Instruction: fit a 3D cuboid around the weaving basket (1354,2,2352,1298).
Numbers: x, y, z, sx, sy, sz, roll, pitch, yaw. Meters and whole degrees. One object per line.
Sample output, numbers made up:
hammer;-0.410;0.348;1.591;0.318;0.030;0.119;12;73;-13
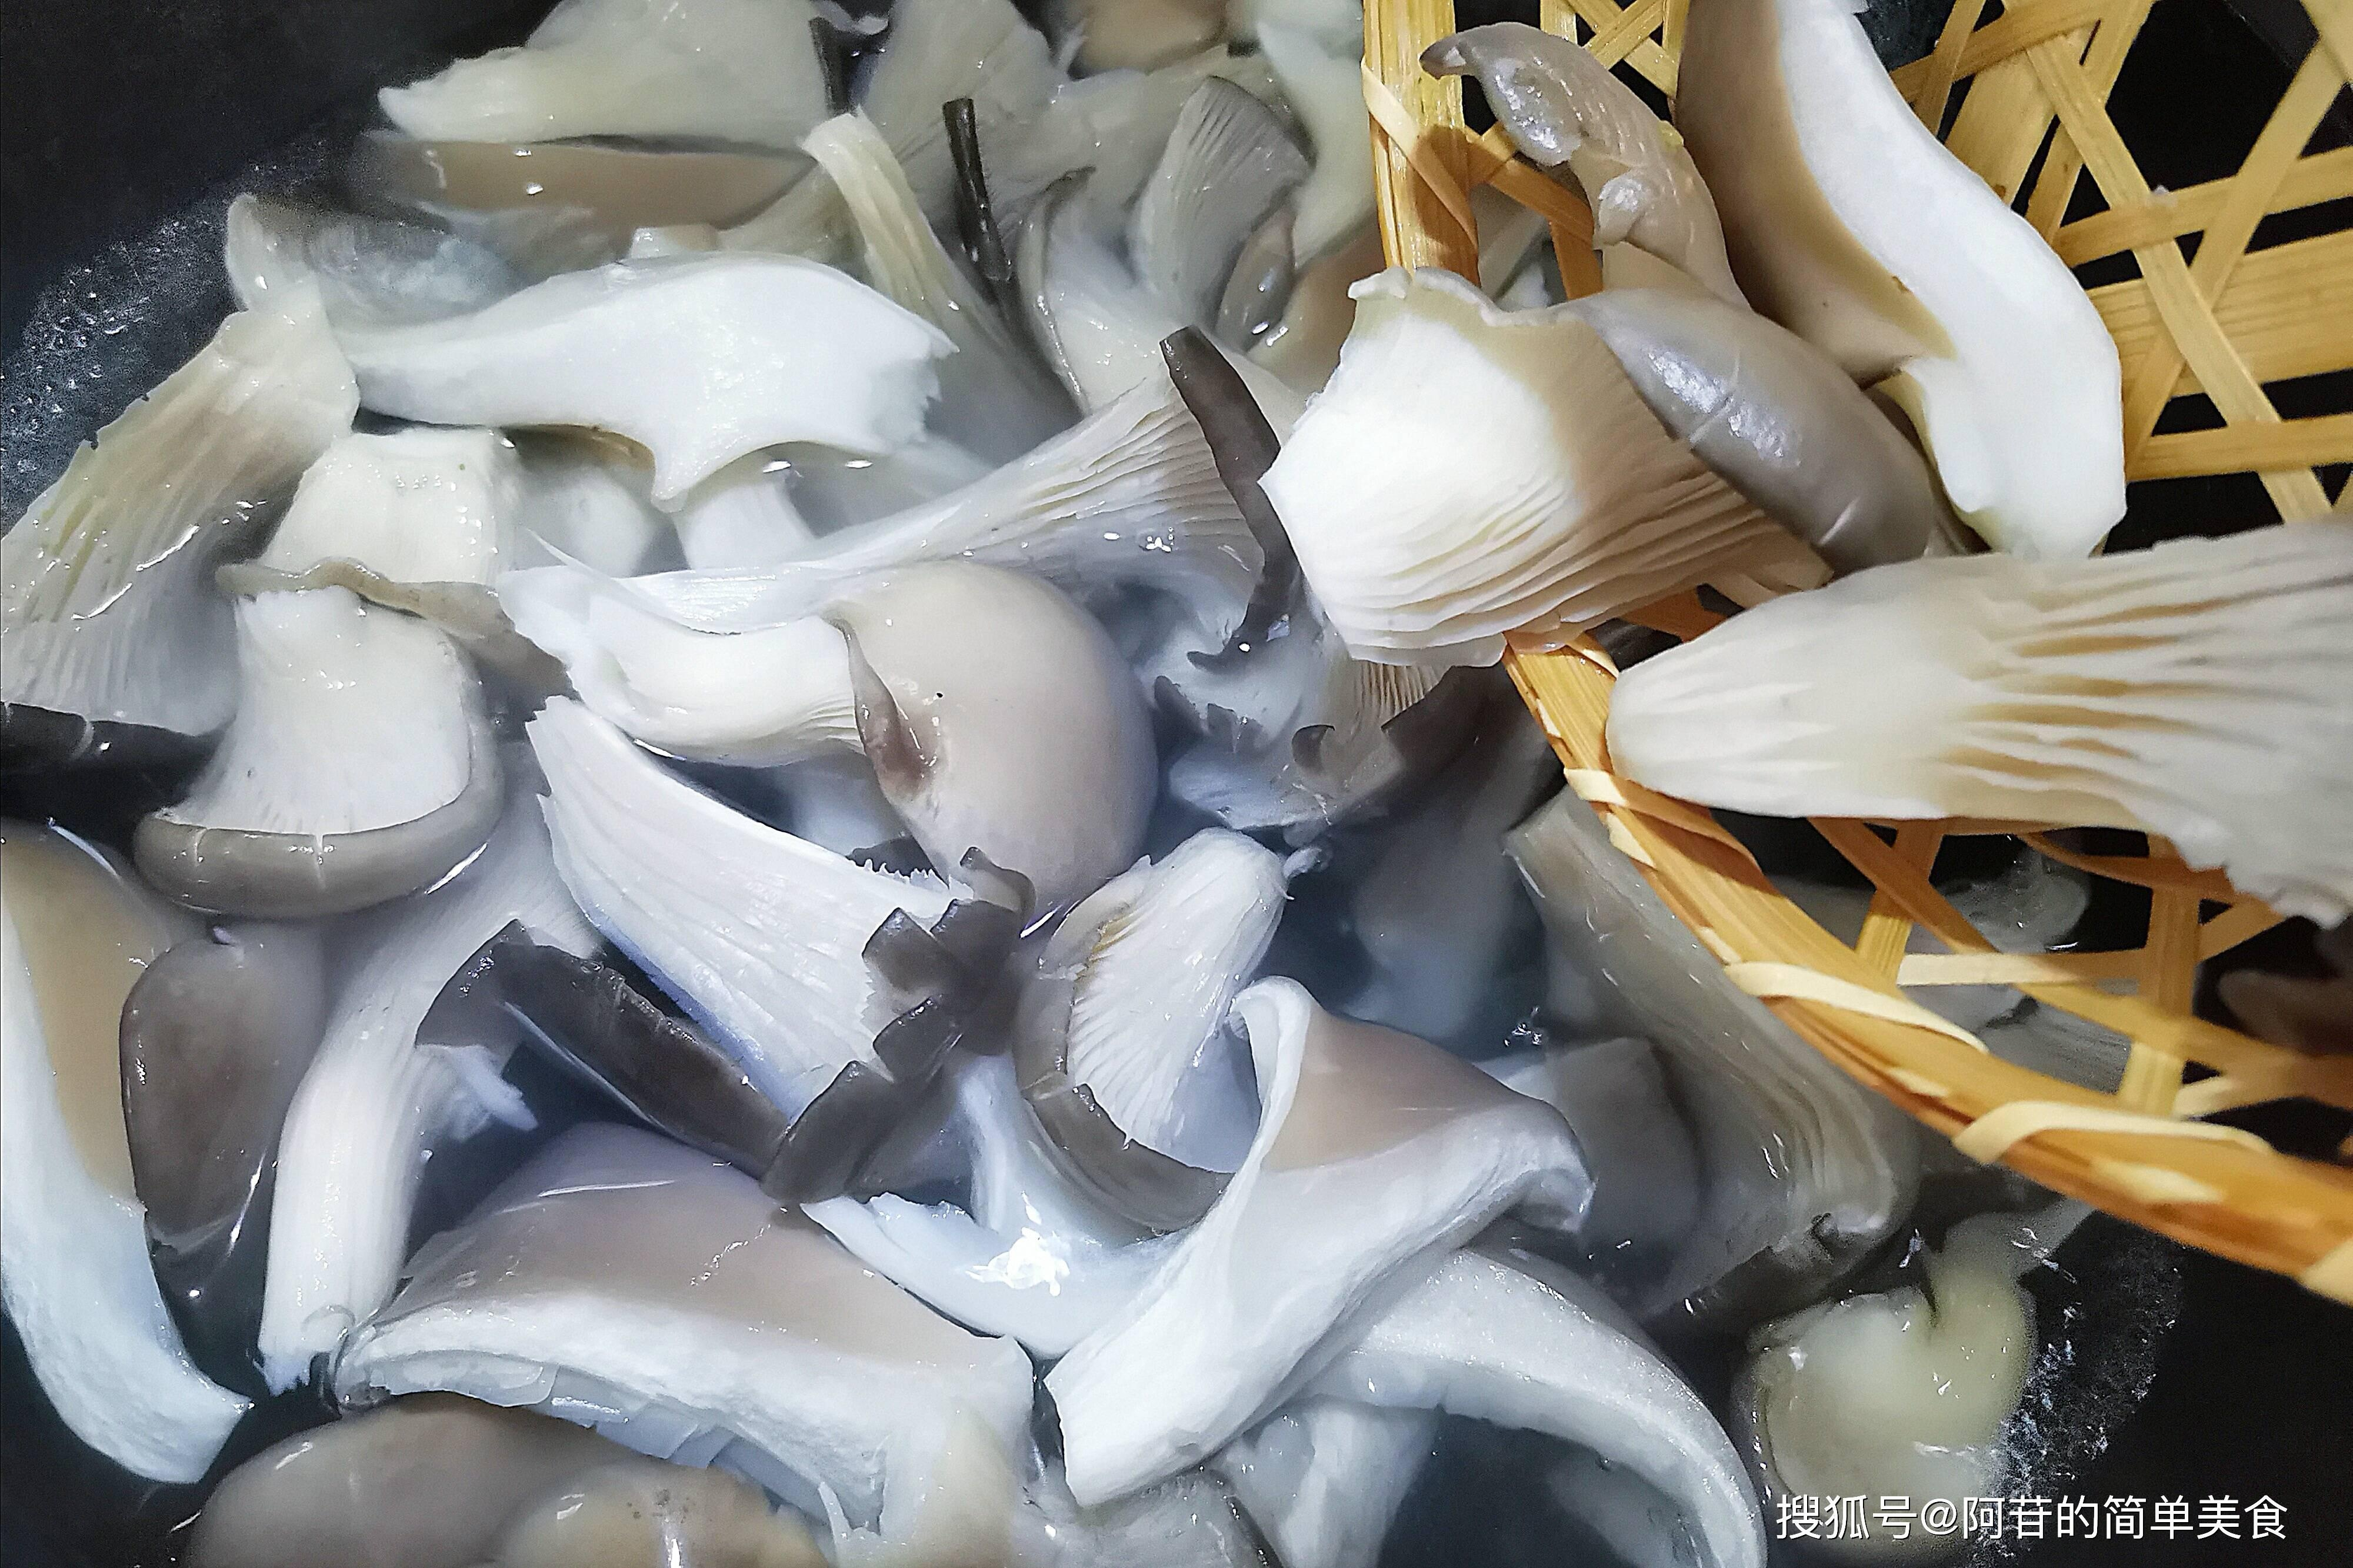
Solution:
weaving basket;0.647;-0.164;2.935;0.854;0.334;1.340;-5;78;-3
